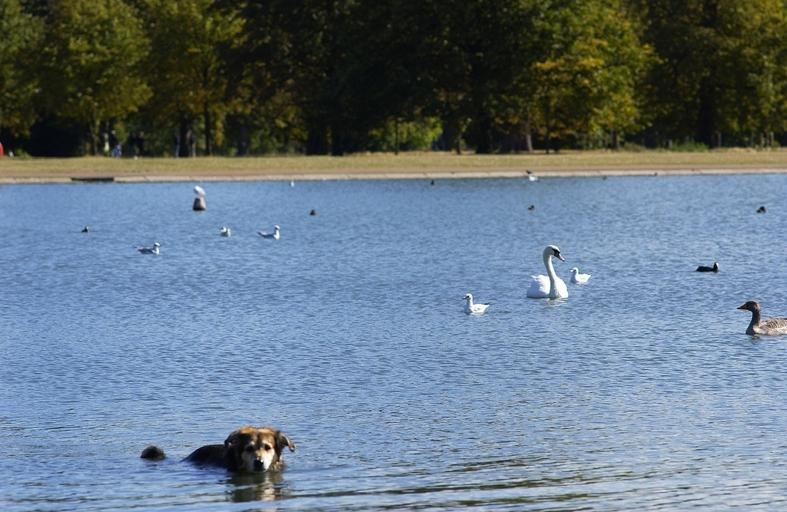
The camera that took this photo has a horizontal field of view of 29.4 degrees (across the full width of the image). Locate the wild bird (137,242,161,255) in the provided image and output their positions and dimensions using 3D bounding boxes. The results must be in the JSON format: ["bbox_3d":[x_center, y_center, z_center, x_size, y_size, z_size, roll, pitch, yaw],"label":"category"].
[{"bbox_3d":[-8.927,-0.254,54.794,0.803,0.486,0.477,15,27,28],"label":"wild bird"}]

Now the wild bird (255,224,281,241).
[{"bbox_3d":[-4.700,-0.906,58.237,0.738,0.441,0.683,10,-6,-33],"label":"wild bird"}]

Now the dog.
[{"bbox_3d":[-4.132,5.099,39.362,5.022,1.108,2.327,0,-1,-4],"label":"dog"}]

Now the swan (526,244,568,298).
[{"bbox_3d":[5.036,0.582,48.585,1.124,1.756,1.341,-5,-5,27],"label":"swan"}]

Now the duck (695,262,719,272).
[{"bbox_3d":[10.812,0.409,51.396,0.800,0.426,0.307,-4,19,7],"label":"duck"}]

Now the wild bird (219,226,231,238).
[{"bbox_3d":[-6.630,-0.911,58.802,0.404,0.212,0.509,9,18,14],"label":"wild bird"}]

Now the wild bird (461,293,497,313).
[{"bbox_3d":[2.604,1.532,46.901,0.839,0.639,0.826,-3,-4,1],"label":"wild bird"}]

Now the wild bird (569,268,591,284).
[{"bbox_3d":[6.221,0.746,50.150,0.802,0.519,0.432,4,-3,-33],"label":"wild bird"}]
